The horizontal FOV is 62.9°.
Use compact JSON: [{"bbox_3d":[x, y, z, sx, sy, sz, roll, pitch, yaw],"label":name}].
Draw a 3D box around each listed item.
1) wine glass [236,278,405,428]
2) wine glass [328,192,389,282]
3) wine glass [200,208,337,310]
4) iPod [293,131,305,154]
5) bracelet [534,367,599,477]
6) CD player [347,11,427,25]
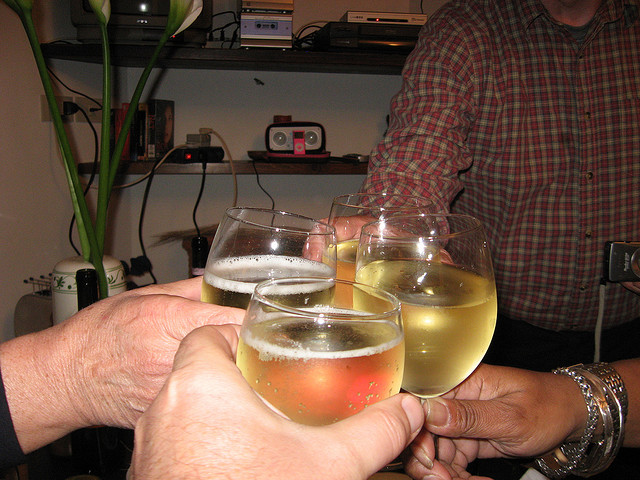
[{"bbox_3d":[0.000,0.150,0.712,0.179,0.179,0.158,-9,21,-40],"label":"wine glass"},{"bbox_3d":[0.063,-0.015,1.014,0.172,0.158,0.161,1,12,0],"label":"wine glass"},{"bbox_3d":[-0.090,0.028,0.906,0.193,0.164,0.180,14,4,-4],"label":"wine glass"},{"bbox_3d":[-0.102,-0.483,2.582,0.068,0.109,0.025,13,19,23],"label":"iPod"},{"bbox_3d":[0.545,0.387,1.130,0.179,0.189,0.054,-1,-1,26],"label":"bracelet"},{"bbox_3d":[0.308,-1.012,2.396,0.364,0.061,0.089,5,16,1],"label":"CD player"}]
